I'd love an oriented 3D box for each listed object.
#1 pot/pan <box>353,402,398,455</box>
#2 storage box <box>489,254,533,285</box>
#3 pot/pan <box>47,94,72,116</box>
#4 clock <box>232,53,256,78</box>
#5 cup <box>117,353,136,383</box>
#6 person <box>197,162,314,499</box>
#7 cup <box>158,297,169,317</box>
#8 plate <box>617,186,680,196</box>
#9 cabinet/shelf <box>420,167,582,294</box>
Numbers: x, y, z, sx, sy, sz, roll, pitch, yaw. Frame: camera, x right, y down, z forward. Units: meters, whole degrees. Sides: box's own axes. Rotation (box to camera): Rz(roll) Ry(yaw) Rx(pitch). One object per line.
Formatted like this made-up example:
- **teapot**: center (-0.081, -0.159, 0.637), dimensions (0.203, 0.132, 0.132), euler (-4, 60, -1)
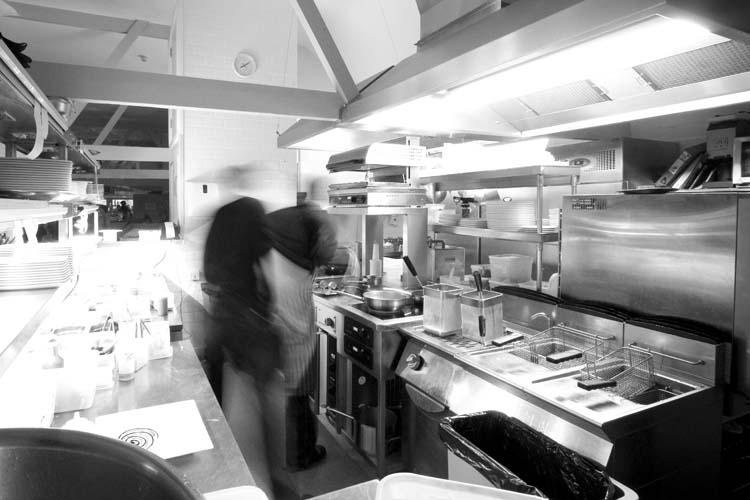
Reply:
- **pot/pan**: center (-0.036, 1.311, 3.613), dimensions (0.299, 0.288, 0.407), euler (1, -5, -18)
- **storage box**: center (1.178, 0.138, 4.114), dimensions (0.268, 0.168, 0.273), euler (6, 8, 43)
- **pot/pan**: center (-1.724, -0.796, 2.656), dimensions (0.101, 0.038, 0.100), euler (-1, -6, 4)
- **clock**: center (-1.098, -1.587, 4.109), dimensions (0.162, 0.222, 0.178), euler (-3, 6, -5)
- **cup**: center (-1.352, 0.621, 2.622), dimensions (0.084, 0.145, 0.153), euler (1, -2, -34)
- **person**: center (-0.866, 0.558, 3.211), dimensions (0.488, 2.175, 0.303), euler (-5, 6, -20)
- **cup**: center (-1.537, 0.405, 3.529), dimensions (0.076, 0.137, 0.091), euler (2, 7, 38)
- **plate**: center (1.634, -0.353, 2.885), dimensions (0.306, 0.042, 0.162), euler (2, 8, 41)
- **cabinet/shelf**: center (0.979, -0.148, 3.926), dimensions (0.449, 0.942, 1.264), euler (-4, 7, -30)
